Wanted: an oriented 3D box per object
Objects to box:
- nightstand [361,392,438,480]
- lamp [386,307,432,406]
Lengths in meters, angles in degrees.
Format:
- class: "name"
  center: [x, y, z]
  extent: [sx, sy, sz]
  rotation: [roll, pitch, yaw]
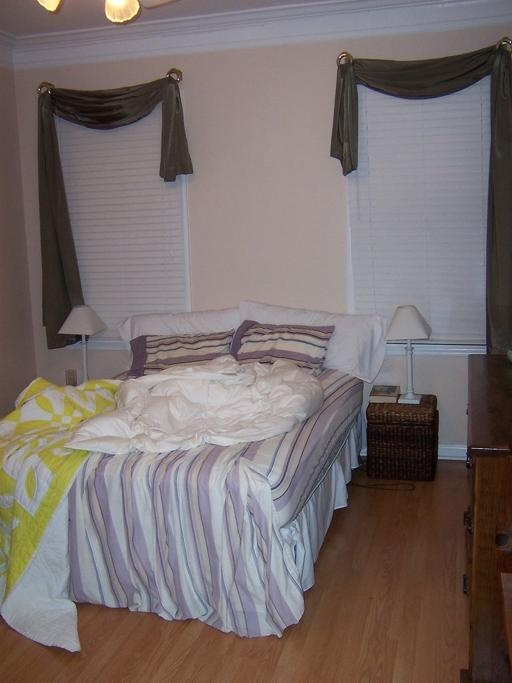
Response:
- class: "nightstand"
  center: [0.840, 0.503, 3.136]
  extent: [0.353, 0.509, 0.483]
  rotation: [0, 3, 13]
- class: "lamp"
  center: [0.915, 0.070, 3.263]
  extent: [0.247, 0.574, 0.412]
  rotation: [0, 5, 17]
